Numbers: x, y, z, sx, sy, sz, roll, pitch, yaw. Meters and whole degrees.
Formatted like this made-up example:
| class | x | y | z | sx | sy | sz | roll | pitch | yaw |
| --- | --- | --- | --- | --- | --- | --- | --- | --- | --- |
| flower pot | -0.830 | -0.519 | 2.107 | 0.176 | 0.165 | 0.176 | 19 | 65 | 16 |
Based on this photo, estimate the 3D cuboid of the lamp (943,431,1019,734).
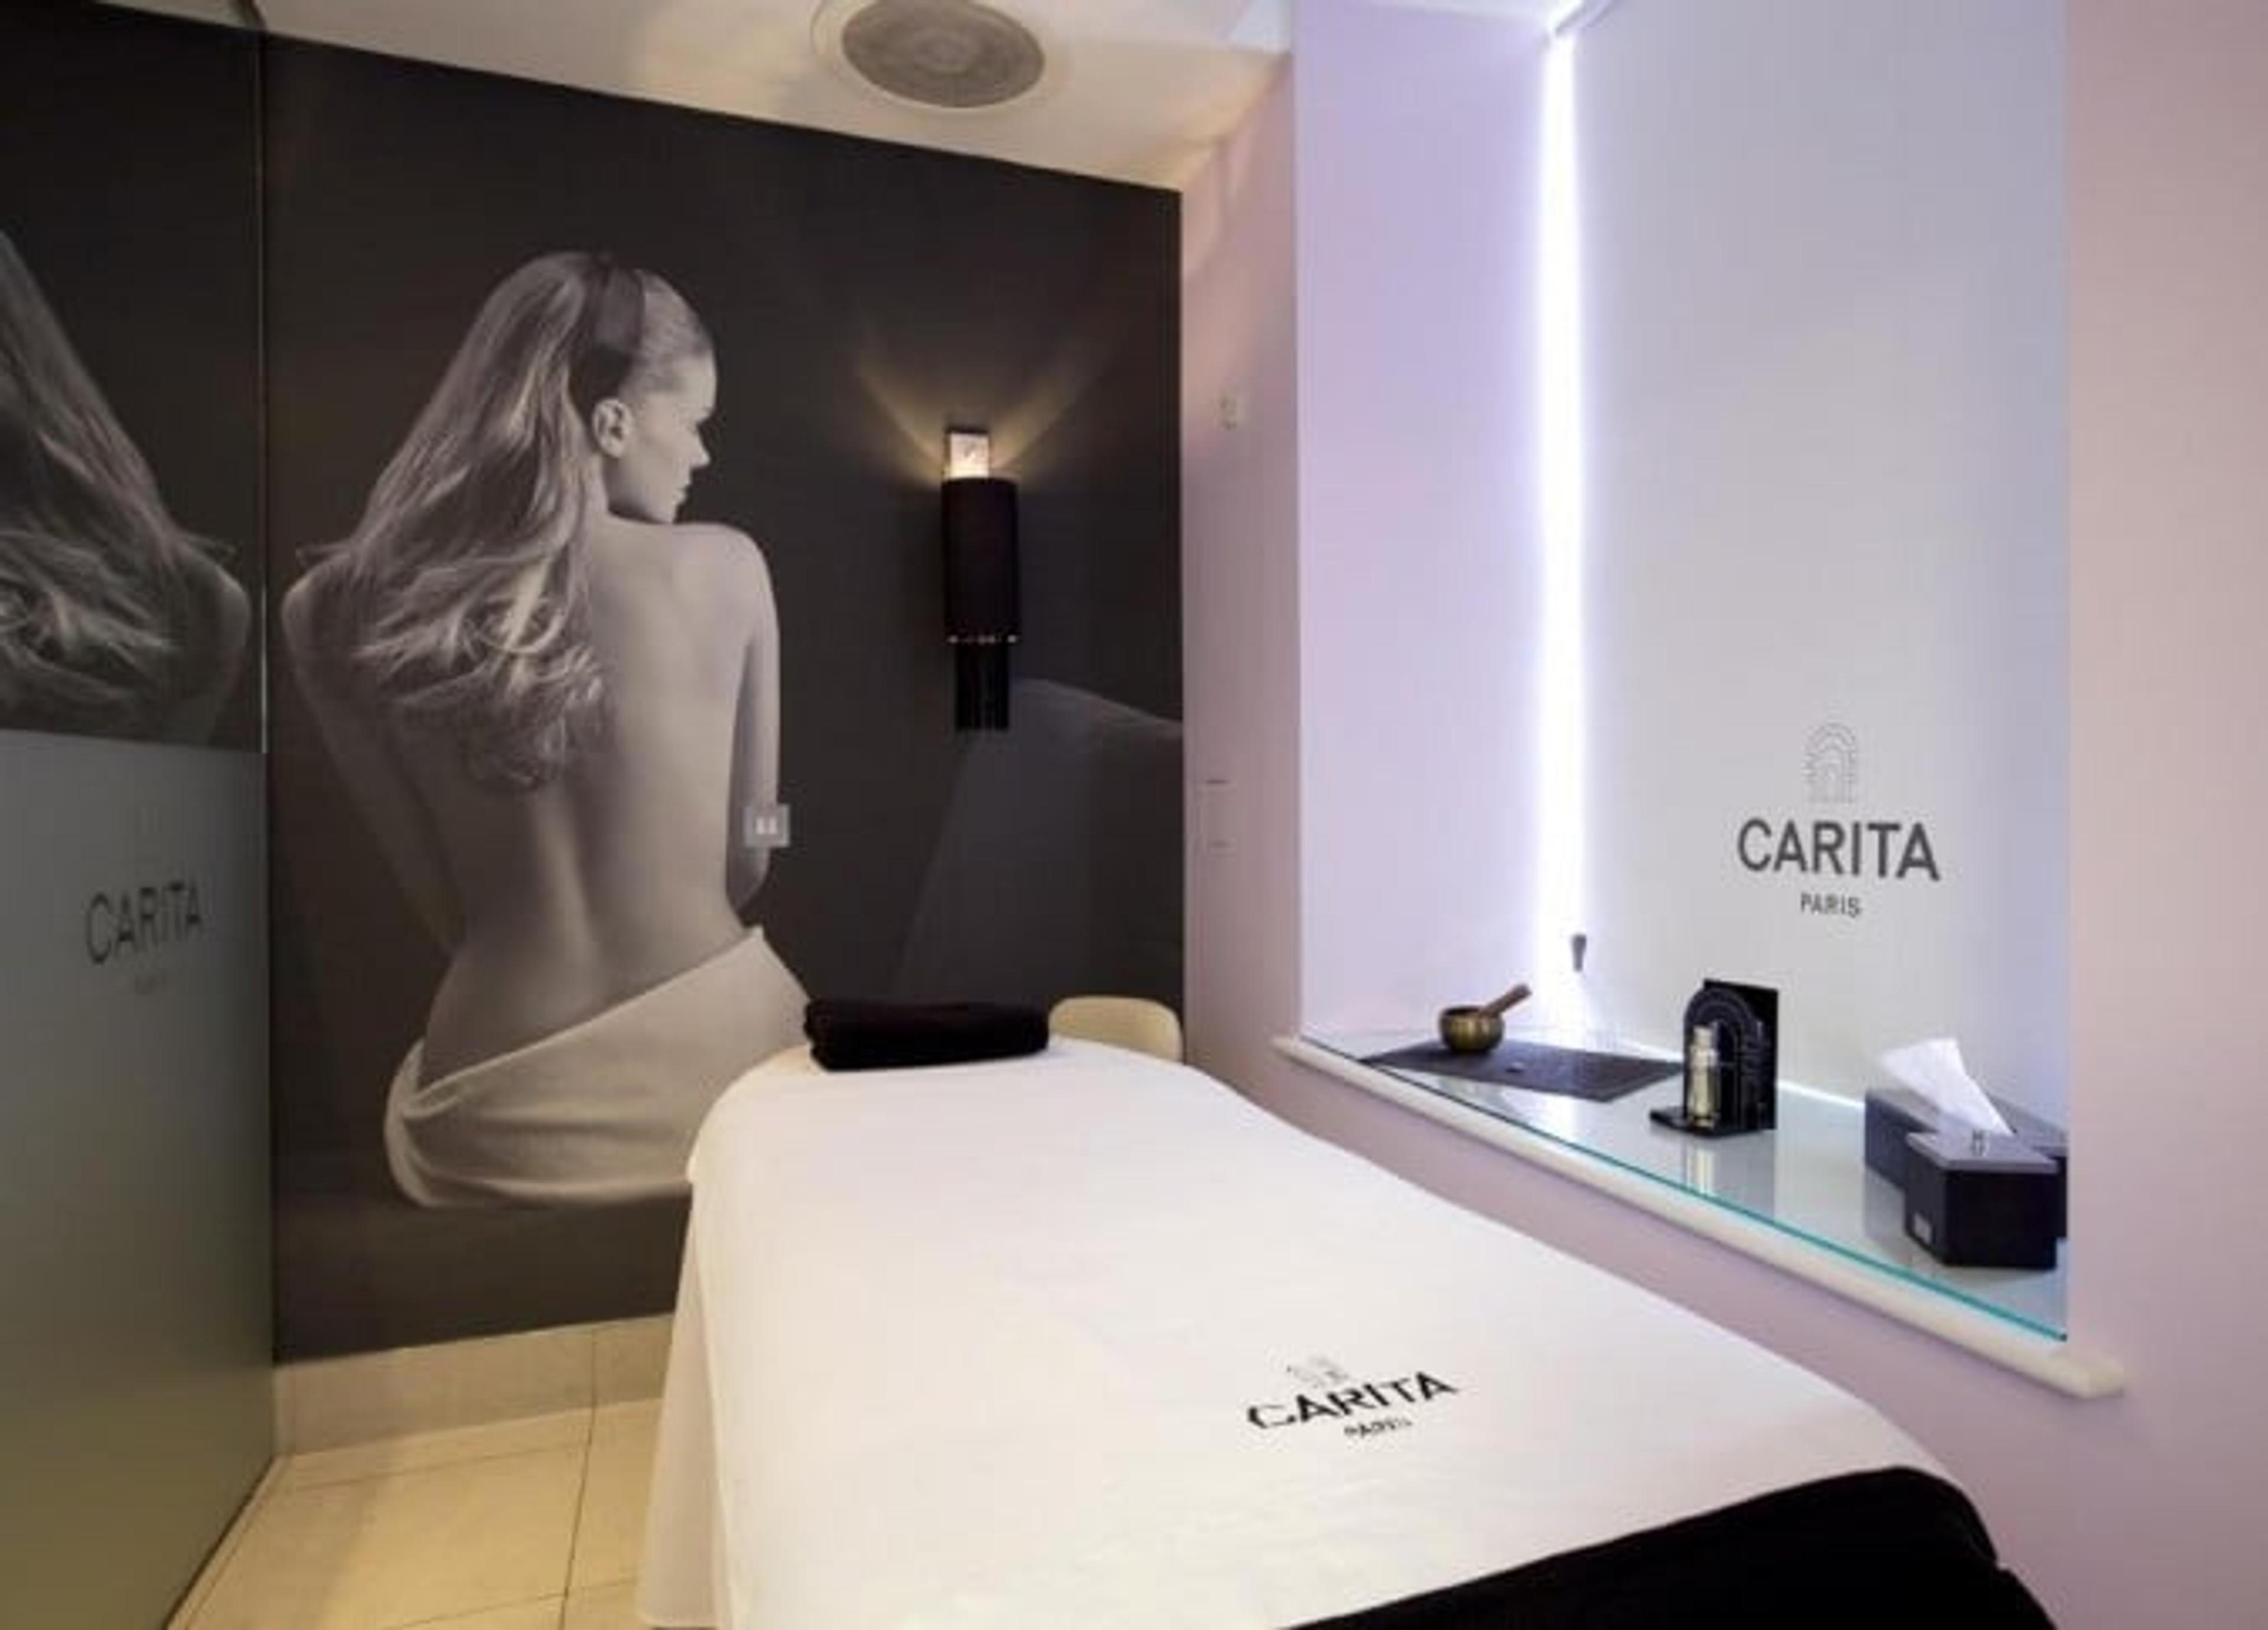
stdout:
| class | x | y | z | sx | sy | sz | roll | pitch | yaw |
| --- | --- | --- | --- | --- | --- | --- | --- | --- | --- |
| lamp | -0.373 | -0.578 | 4.017 | 0.198 | 0.743 | 0.221 | 1 | 8 | -5 |

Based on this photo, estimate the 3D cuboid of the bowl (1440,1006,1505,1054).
| class | x | y | z | sx | sy | sz | roll | pitch | yaw |
| --- | --- | --- | --- | --- | --- | --- | --- | --- | --- |
| bowl | 0.721 | 0.455 | 3.519 | 0.093 | 0.067 | 0.099 | -2 | -4 | 0 |
